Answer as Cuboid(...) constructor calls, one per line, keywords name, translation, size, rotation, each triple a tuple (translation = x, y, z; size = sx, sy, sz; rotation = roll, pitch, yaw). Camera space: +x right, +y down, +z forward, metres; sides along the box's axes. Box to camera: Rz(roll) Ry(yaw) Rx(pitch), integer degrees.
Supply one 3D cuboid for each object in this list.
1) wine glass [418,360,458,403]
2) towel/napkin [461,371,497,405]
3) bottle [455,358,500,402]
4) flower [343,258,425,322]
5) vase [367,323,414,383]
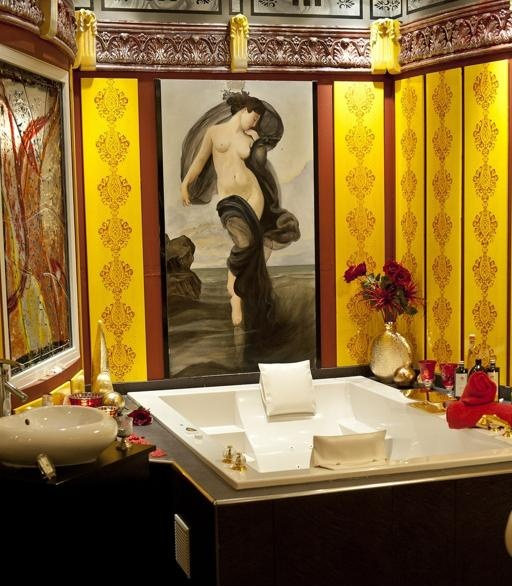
Cuboid(name="wine glass", translation=(1.098, 0.546, 3.448), size=(0.198, 0.141, 0.081), rotation=(0, -5, 1))
Cuboid(name="towel/napkin", translation=(1.070, 0.469, 2.752), size=(0.155, 0.158, 0.082), rotation=(2, 11, 20))
Cuboid(name="bottle", translation=(1.169, 0.471, 3.013), size=(0.226, 0.234, 0.082), rotation=(0, -5, 7))
Cuboid(name="flower", translation=(0.863, -0.004, 3.901), size=(0.507, 0.436, 0.325), rotation=(4, 12, 29))
Cuboid(name="vase", translation=(0.871, 0.413, 3.926), size=(0.313, 0.470, 0.319), rotation=(0, 0, -13))
